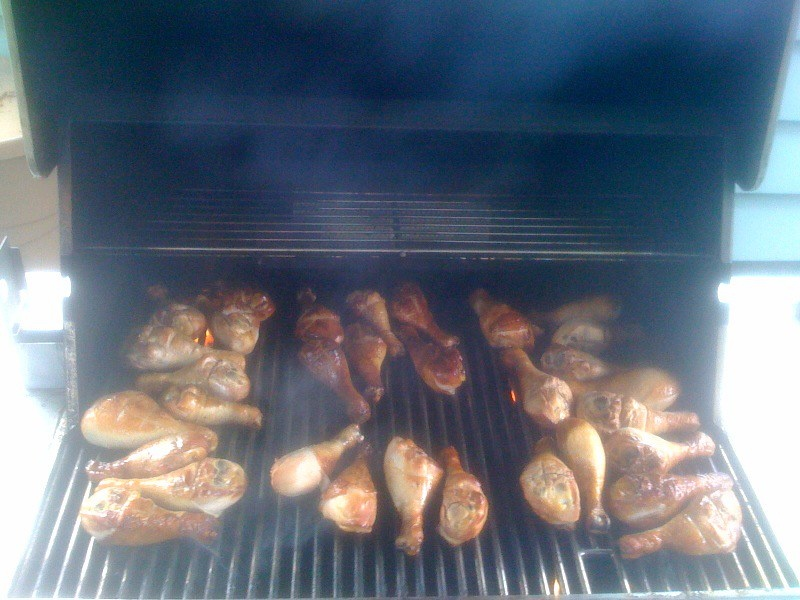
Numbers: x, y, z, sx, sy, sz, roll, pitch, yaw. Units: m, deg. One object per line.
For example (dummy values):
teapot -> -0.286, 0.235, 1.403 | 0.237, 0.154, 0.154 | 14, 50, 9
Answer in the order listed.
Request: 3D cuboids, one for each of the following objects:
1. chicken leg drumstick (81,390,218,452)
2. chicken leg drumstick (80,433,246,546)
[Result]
chicken leg drumstick -> -0.855, 0.431, 2.337 | 0.356, 0.105, 0.214 | 4, 34, 11
chicken leg drumstick -> -0.737, 0.602, 2.194 | 0.487, 0.218, 0.301 | -7, 24, -15
